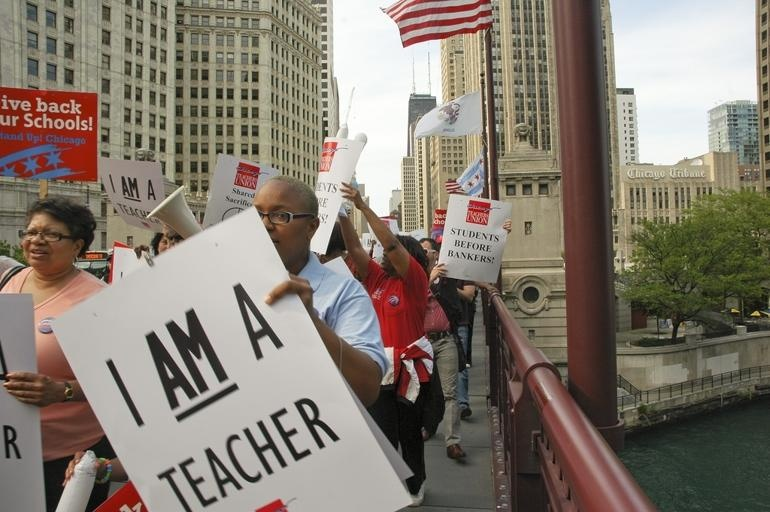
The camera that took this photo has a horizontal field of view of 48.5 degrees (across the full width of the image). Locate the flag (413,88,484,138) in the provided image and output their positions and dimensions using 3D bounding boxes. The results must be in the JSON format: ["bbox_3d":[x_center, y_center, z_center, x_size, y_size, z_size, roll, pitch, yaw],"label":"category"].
[{"bbox_3d":[1.449,-3.043,17.988,1.795,0.985,0.754,-5,3,-33],"label":"flag"}]

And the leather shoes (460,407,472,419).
[{"bbox_3d":[1.093,2.127,11.514,0.098,0.255,0.101,-1,38,-10],"label":"leather shoes"}]

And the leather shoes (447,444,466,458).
[{"bbox_3d":[0.821,2.317,10.020,0.283,0.210,0.096,-5,-7,29],"label":"leather shoes"}]
